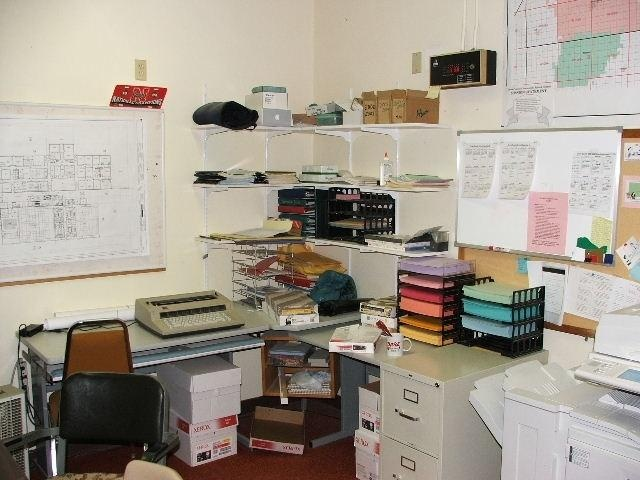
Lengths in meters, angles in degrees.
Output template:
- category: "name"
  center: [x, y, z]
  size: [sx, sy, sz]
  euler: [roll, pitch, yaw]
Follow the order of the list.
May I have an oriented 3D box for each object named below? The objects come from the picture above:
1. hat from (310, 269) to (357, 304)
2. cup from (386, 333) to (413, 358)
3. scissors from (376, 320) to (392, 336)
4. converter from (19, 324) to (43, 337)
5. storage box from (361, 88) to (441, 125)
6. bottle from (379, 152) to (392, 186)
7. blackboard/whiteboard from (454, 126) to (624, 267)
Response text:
- category: "hat"
  center: [0.100, 0.363, 3.961]
  size: [0.357, 0.217, 0.292]
  euler: [-3, 13, -2]
- category: "cup"
  center: [0.492, 0.636, 3.176]
  size: [0.187, 0.129, 0.115]
  euler: [2, -3, -29]
- category: "scissors"
  center: [0.411, 0.566, 3.281]
  size: [0.042, 0.173, 0.051]
  euler: [-35, 47, -2]
- category: "converter"
  center: [-1.901, 0.584, 3.397]
  size: [0.078, 0.030, 0.108]
  euler: [4, 5, 16]
- category: "storage box"
  center: [0.533, -0.906, 3.536]
  size: [0.366, 0.180, 0.344]
  euler: [-3, 4, -44]
- category: "bottle"
  center: [0.473, -0.496, 3.689]
  size: [0.089, 0.203, 0.266]
  euler: [-1, 13, 7]
- category: "blackboard/whiteboard"
  center: [1.319, -0.271, 3.114]
  size: [1.101, 0.770, 0.021]
  euler: [1, 0, -11]
